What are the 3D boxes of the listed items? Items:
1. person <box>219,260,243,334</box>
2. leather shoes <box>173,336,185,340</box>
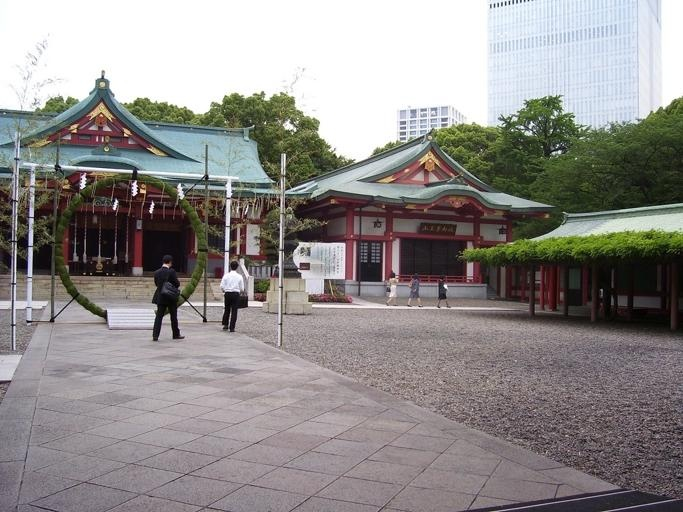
[{"bbox_3d":[-2.506,0.909,14.814,0.496,1.684,1.342,2,3,-10],"label":"person"},{"bbox_3d":[-3.286,1.653,13.048,0.194,0.076,0.067,-4,-9,12],"label":"leather shoes"}]
